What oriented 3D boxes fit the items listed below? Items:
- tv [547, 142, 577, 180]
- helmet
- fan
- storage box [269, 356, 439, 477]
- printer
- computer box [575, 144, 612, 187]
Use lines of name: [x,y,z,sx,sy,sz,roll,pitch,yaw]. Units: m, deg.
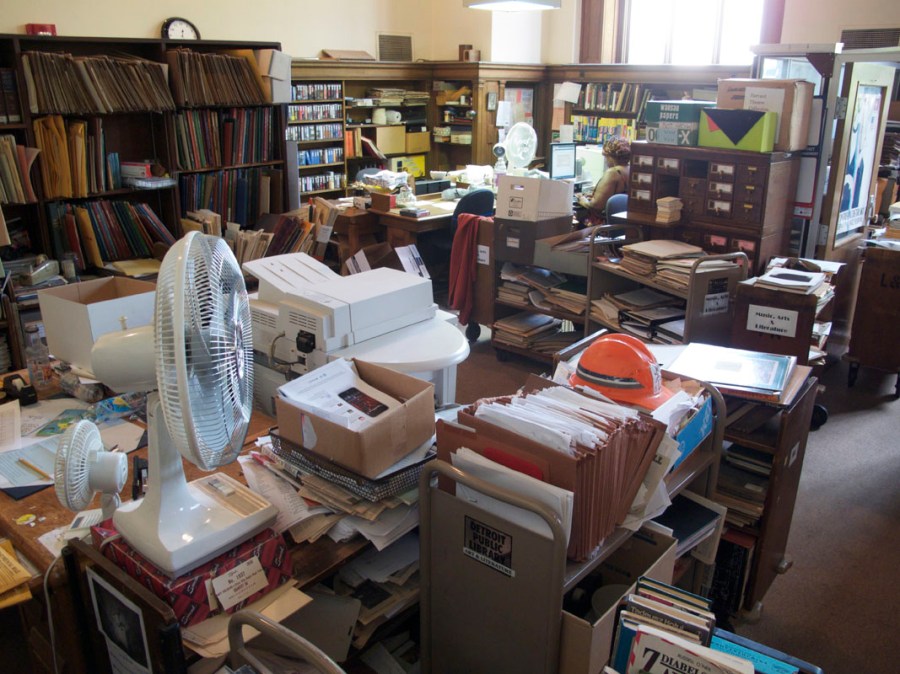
tv: [1.171,-1.820,7.009,0.222,0.372,0.445,16,28,40]
helmet: [0.607,0.094,2.371,0.309,0.216,0.219,9,14,26]
fan: [-0.785,0.153,1.815,0.548,0.858,0.381,6,22,21]
storage box: [-0.325,0.154,2.189,0.390,0.204,0.400,20,26,36]
printer: [-0.434,-0.095,2.899,0.820,0.557,0.669,21,30,33]
computer box: [1.603,-1.914,7.577,0.298,0.462,0.313,-6,13,-22]
